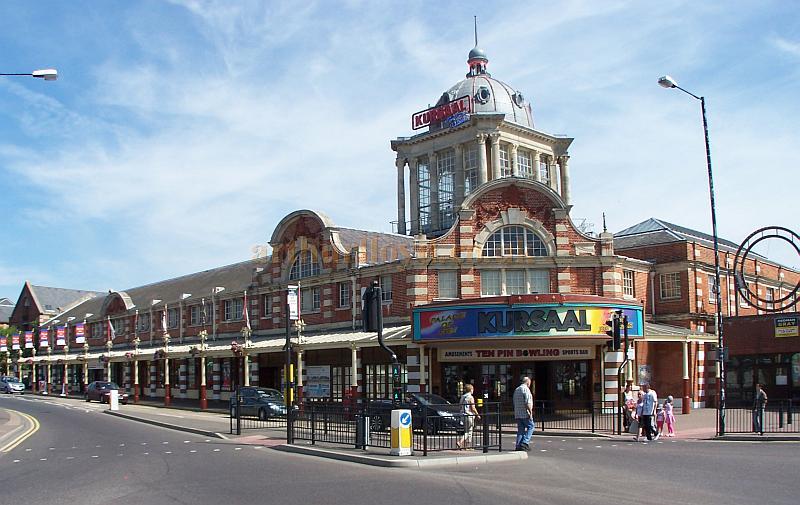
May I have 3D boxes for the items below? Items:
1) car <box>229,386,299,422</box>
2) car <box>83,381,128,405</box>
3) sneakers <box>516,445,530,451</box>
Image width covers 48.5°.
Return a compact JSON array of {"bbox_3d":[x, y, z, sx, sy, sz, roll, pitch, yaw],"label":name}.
[{"bbox_3d":[-7.874,8.577,51.669,2.563,1.687,4.113,9,-16,-41],"label":"car"},{"bbox_3d":[-23.798,11.194,71.706,2.278,1.463,4.973,8,-14,-40],"label":"car"},{"bbox_3d":[5.193,8.165,37.309,0.679,0.258,0.213,2,-4,-14],"label":"sneakers"}]
